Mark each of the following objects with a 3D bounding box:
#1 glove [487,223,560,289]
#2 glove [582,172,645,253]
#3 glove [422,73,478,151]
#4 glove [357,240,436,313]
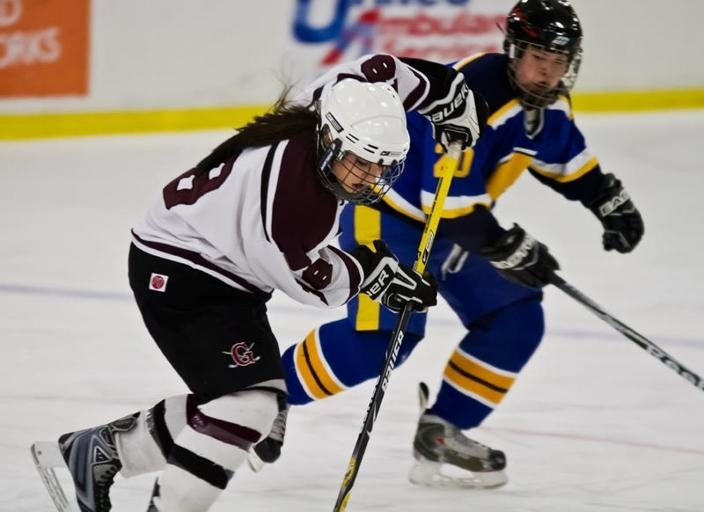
[{"bbox_3d":[0.669,0.028,3.648,0.295,0.119,0.200,28,44,-17],"label":"glove"},{"bbox_3d":[1.108,-0.198,3.987,0.232,0.146,0.353,-38,106,-12],"label":"glove"},{"bbox_3d":[0.395,-0.526,3.529,0.135,0.235,0.283,-27,79,-5],"label":"glove"},{"bbox_3d":[0.151,0.076,3.405,0.338,0.137,0.188,21,37,-42],"label":"glove"}]
